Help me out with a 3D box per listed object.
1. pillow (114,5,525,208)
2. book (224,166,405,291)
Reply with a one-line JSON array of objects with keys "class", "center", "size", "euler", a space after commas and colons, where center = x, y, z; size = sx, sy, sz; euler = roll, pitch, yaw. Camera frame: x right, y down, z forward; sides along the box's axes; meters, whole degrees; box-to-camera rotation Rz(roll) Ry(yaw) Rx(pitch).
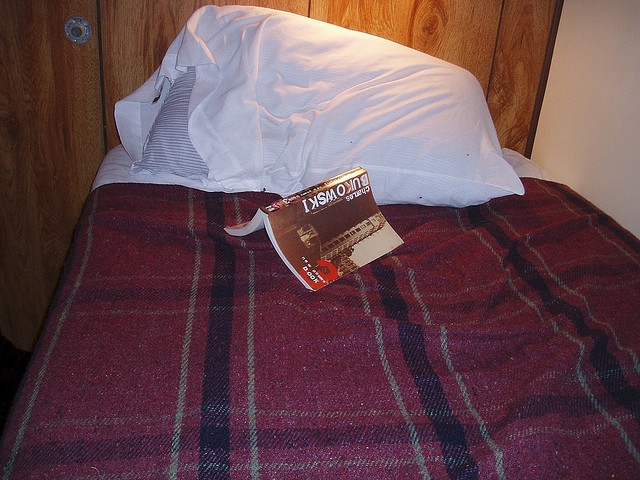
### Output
[{"class": "pillow", "center": [0.019, -0.387, 1.481], "size": [0.890, 0.285, 0.752], "euler": [15, 51, -11]}, {"class": "book", "center": [0.018, -0.002, 1.270], "size": [0.324, 0.132, 0.372], "euler": [-25, 67, -32]}]
